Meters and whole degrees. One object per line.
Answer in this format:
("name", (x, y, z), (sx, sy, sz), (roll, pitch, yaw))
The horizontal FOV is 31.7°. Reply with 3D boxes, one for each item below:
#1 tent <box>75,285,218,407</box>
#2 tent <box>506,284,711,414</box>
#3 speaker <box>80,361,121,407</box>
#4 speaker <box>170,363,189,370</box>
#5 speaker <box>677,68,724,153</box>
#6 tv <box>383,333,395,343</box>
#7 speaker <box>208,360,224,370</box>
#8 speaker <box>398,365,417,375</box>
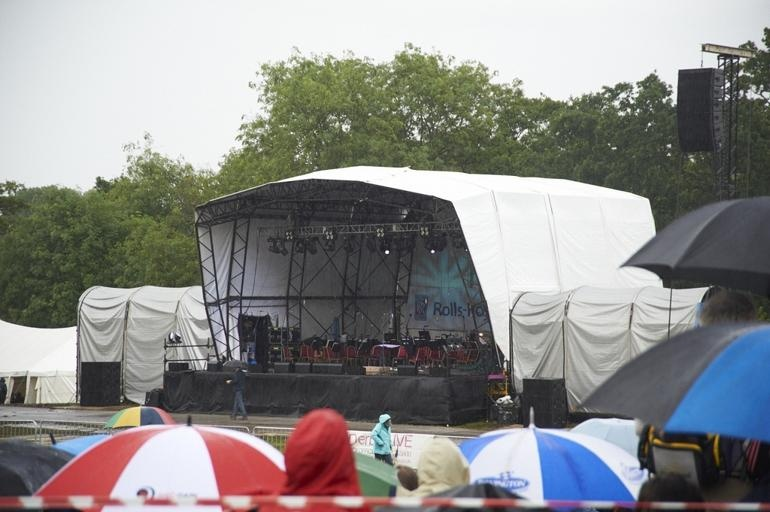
("tent", (-10.553, 3.714, 58.798), (5.678, 5.339, 3.706), (-2, -7, -5))
("tent", (8.893, 3.023, 52.264), (6.741, 4.233, 4.888), (-4, -5, 40))
("speaker", (-11.775, 5.330, 56.219), (1.743, 1.727, 0.935), (1, 2, -5))
("speaker", (-8.453, 4.578, 55.806), (0.825, 0.448, 0.730), (0, -8, -15))
("speaker", (11.950, -5.565, 51.007), (1.759, 3.057, 1.040), (-4, -7, 13))
("tv", (0.263, 3.565, 58.203), (0.289, 0.512, 0.537), (-5, -6, 34))
("speaker", (-6.917, 4.541, 55.539), (0.971, 0.375, 0.357), (-9, -10, 40))
("speaker", (0.921, 4.413, 51.871), (0.518, 0.324, 0.368), (0, -5, 6))
